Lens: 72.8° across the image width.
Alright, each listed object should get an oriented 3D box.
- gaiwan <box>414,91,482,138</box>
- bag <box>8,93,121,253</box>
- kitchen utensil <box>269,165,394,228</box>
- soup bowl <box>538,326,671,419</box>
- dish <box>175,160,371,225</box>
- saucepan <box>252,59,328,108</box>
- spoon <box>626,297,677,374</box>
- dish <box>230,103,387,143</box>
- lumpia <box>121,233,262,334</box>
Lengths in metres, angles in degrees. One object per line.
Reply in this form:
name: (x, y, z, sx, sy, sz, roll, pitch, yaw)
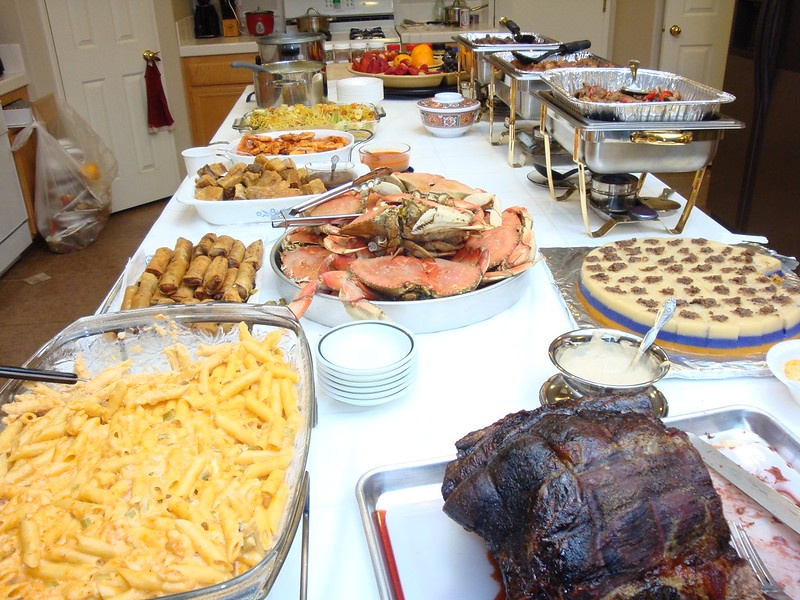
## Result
gaiwan: (0.232, -0.899, 2.653, 0.292, 0.166, 0.283, 3, 29, 10)
bag: (-2.420, -0.886, 3.868, 0.656, 1.049, 0.904, 1, 45, -21)
kitchen utensil: (-0.159, -0.235, 1.384, 0.296, 0.041, 0.156, -16, 53, -3)
soup bowl: (0.365, 0.134, 0.992, 0.198, 0.086, 0.201, -5, 23, 2)
dish: (-0.418, -0.297, 1.744, 0.486, 0.081, 0.286, -7, 27, -10)
saucepan: (-0.601, -1.098, 2.830, 0.357, 0.261, 0.312, -14, 39, -24)
spoon: (0.470, 0.063, 1.005, 0.203, 0.021, 0.031, -42, 29, -29)
dish: (-0.421, -0.855, 2.552, 0.611, 0.103, 0.300, -4, 26, -6)
lumpia: (-0.501, -0.094, 1.385, 0.241, 0.068, 0.290, -3, 30, -1)
